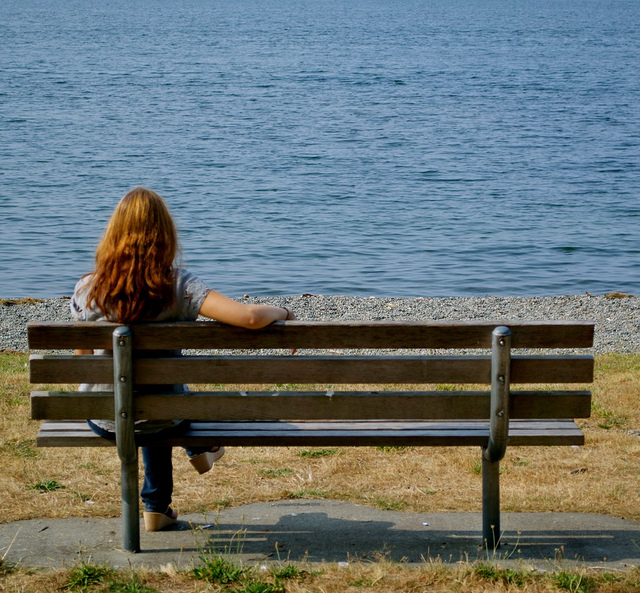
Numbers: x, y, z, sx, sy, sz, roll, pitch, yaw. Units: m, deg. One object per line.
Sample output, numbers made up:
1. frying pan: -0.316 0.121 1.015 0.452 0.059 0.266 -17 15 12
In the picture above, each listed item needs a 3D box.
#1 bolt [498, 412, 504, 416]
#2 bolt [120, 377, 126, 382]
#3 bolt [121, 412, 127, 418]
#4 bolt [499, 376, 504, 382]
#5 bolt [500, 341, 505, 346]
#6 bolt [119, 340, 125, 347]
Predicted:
1. bolt: 1.627 1.056 13.982 0.051 0.034 0.009 3 13 6
2. bolt: -1.753 0.738 13.892 0.047 0.038 0.013 0 4 -5
3. bolt: -1.752 1.062 13.951 0.057 0.047 0.012 -5 -6 -9
4. bolt: 1.624 0.735 13.922 0.053 0.043 0.011 -1 -4 5
5. bolt: 1.623 0.416 13.857 0.040 0.040 0.006 2 13 0
6. bolt: -1.756 0.411 13.840 0.056 0.046 0.012 -2 -4 -3
